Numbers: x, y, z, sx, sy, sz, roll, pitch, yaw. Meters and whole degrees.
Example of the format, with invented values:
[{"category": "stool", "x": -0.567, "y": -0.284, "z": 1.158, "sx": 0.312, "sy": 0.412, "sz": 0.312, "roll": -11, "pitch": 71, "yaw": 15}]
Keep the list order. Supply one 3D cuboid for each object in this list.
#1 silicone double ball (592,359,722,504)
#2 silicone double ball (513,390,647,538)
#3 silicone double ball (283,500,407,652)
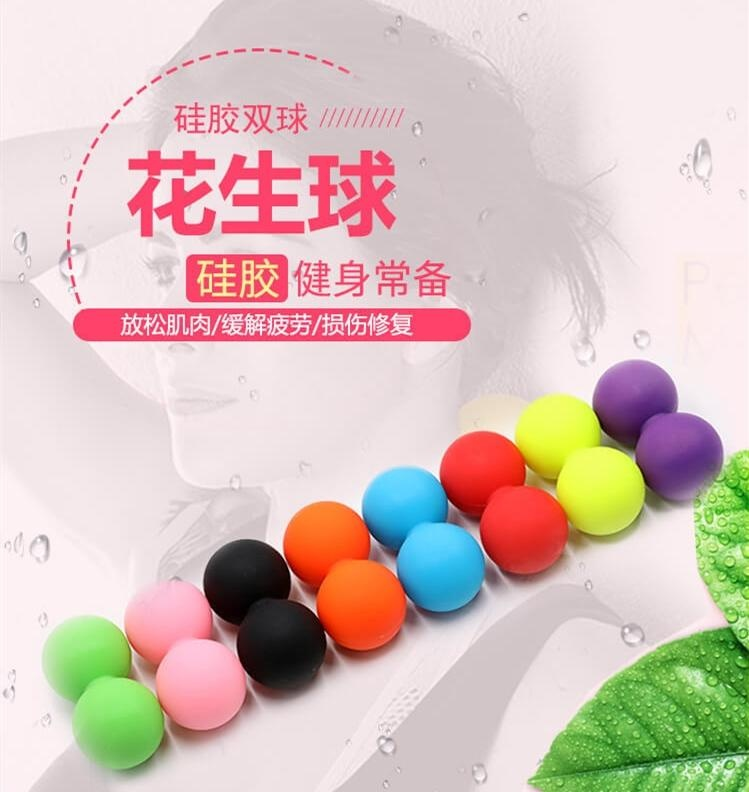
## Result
[{"category": "silicone double ball", "x": 0.671, "y": 0.075, "z": 1.877, "sx": 0.193, "sy": 0.201, "sz": 0.389, "roll": 7, "pitch": 37, "yaw": -30}, {"category": "silicone double ball", "x": 0.470, "y": 0.154, "z": 1.834, "sx": 0.200, "sy": 0.182, "sz": 0.379, "roll": -7, "pitch": 43, "yaw": -22}, {"category": "silicone double ball", "x": -0.075, "y": 0.371, "z": 1.656, "sx": 0.173, "sy": 0.174, "sz": 0.357, "roll": -3, "pitch": 40, "yaw": -15}]
